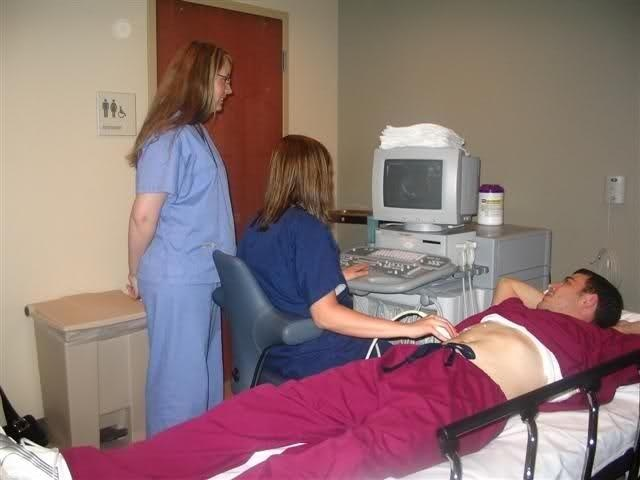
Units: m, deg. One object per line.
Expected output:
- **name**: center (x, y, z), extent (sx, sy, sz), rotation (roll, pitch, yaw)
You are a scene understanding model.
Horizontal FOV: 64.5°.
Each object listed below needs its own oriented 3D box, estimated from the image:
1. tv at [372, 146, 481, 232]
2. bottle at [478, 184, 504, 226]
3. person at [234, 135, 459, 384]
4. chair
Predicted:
- **tv**: center (0.491, -0.242, 2.392), extent (0.426, 0.367, 0.307), rotation (5, 8, 37)
- **bottle**: center (0.820, -0.171, 2.451), extent (0.136, 0.201, 0.139), rotation (0, 8, 0)
- **person**: center (0.052, 0.199, 2.079), extent (0.733, 1.227, 0.647), rotation (-6, 7, -20)
- **chair**: center (-0.211, 0.321, 1.995), extent (0.363, 0.562, 0.570), rotation (-6, 13, -37)
